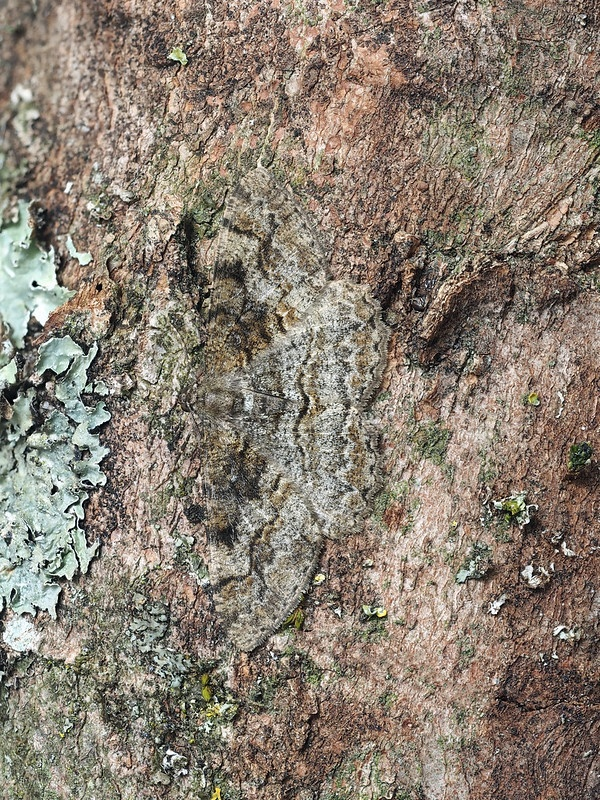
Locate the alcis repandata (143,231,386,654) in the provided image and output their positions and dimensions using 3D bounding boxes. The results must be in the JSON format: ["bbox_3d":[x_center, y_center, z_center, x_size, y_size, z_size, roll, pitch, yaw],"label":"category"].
[{"bbox_3d":[-0.012,0.224,4.793,0.932,0.351,0.864,-29,80,-5],"label":"alcis repandata"}]
